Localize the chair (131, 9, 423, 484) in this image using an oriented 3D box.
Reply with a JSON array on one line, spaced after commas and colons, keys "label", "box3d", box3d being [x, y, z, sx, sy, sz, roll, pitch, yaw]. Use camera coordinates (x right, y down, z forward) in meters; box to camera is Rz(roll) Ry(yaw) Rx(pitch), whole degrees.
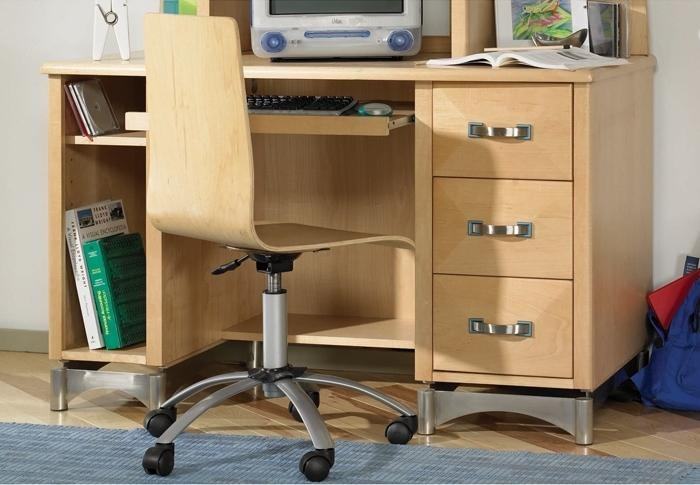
[{"label": "chair", "box3d": [-0.206, -0.006, 1.734, 0.720, 1.130, 0.528, -1, 11, -1]}]
